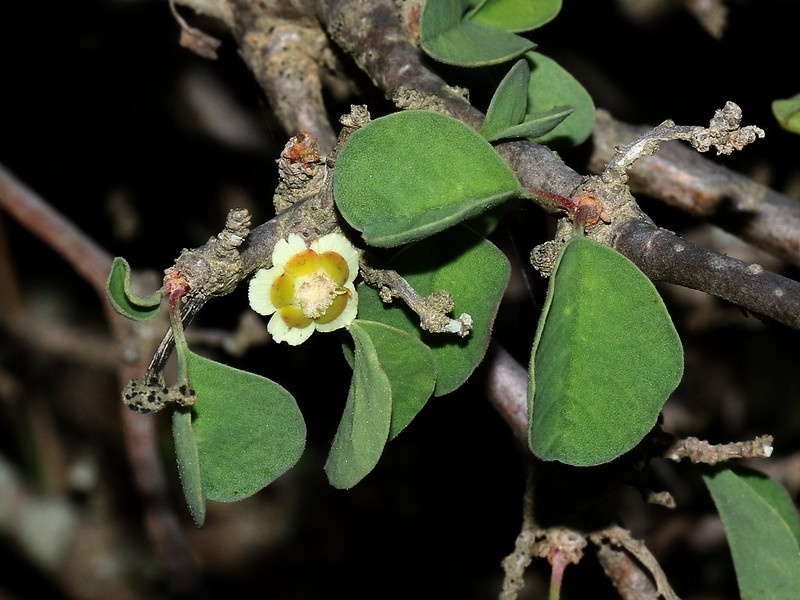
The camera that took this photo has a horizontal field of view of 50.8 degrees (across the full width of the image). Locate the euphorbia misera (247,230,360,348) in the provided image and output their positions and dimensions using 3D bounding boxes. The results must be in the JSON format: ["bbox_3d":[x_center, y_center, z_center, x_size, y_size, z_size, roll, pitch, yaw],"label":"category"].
[{"bbox_3d":[-0.148,-0.025,1.353,0.183,0.193,0.070,-28,59,-7],"label":"euphorbia misera"}]
